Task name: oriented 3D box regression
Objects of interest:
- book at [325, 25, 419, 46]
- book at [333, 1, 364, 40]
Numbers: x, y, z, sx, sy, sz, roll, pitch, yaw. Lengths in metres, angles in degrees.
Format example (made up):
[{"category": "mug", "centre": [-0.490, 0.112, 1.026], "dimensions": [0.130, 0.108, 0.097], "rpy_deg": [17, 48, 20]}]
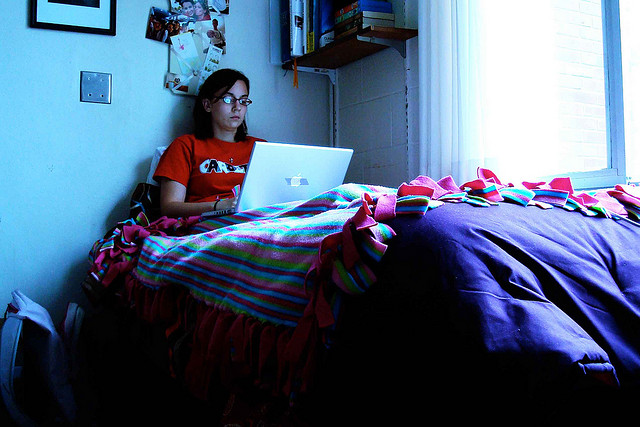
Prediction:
[{"category": "book", "centre": [0.269, -0.949, 2.247], "dimensions": [0.488, 0.115, 0.177], "rpy_deg": [6, 9, 8]}, {"category": "book", "centre": [0.149, -1.030, 2.270], "dimensions": [0.041, 0.164, 0.167], "rpy_deg": [-2, -1, -39]}]
